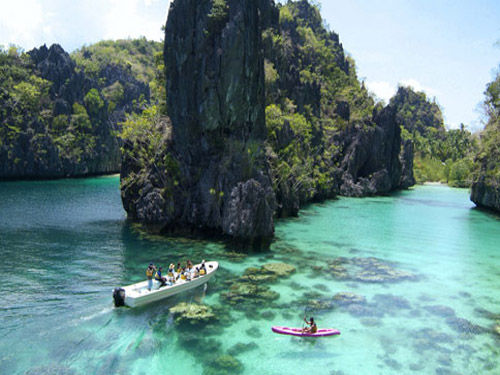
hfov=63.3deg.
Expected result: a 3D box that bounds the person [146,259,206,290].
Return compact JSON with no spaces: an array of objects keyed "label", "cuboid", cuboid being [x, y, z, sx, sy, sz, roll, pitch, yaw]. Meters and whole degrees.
[{"label":"person","cuboid":[-6.447,7.658,35.342,2.865,1.115,0.966,-20,-25,-29]}]
